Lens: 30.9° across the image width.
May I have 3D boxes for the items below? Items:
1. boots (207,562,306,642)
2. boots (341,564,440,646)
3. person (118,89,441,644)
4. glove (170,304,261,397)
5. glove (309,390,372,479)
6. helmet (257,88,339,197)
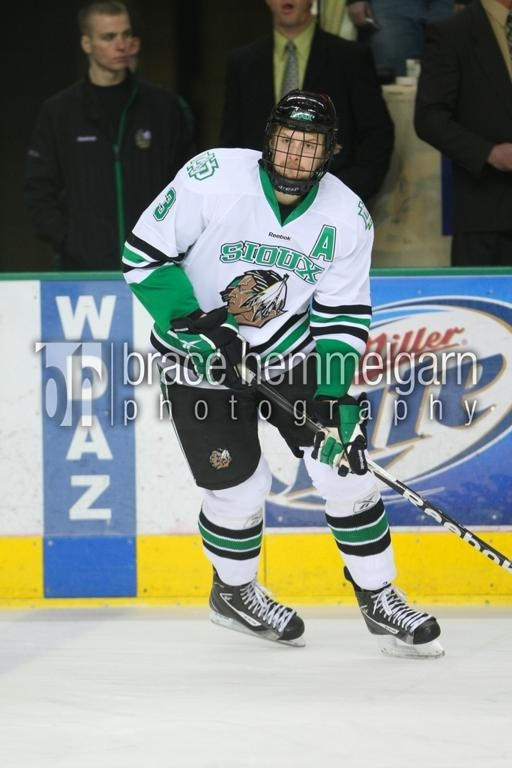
[{"bbox_3d":[0.066,0.585,2.528,0.354,0.194,0.111,7,23,13],"label":"boots"},{"bbox_3d":[0.355,0.577,2.365,0.088,0.163,0.255,-21,13,-33],"label":"boots"},{"bbox_3d":[0.053,0.018,2.283,0.597,1.317,0.771,-11,37,-14],"label":"person"},{"bbox_3d":[-0.095,-0.079,2.282,0.155,0.221,0.090,-32,22,-13],"label":"glove"},{"bbox_3d":[0.207,0.130,2.272,0.131,0.174,0.218,1,35,2],"label":"glove"},{"bbox_3d":[0.100,-0.563,2.204,0.183,0.222,0.240,11,5,0],"label":"helmet"}]
